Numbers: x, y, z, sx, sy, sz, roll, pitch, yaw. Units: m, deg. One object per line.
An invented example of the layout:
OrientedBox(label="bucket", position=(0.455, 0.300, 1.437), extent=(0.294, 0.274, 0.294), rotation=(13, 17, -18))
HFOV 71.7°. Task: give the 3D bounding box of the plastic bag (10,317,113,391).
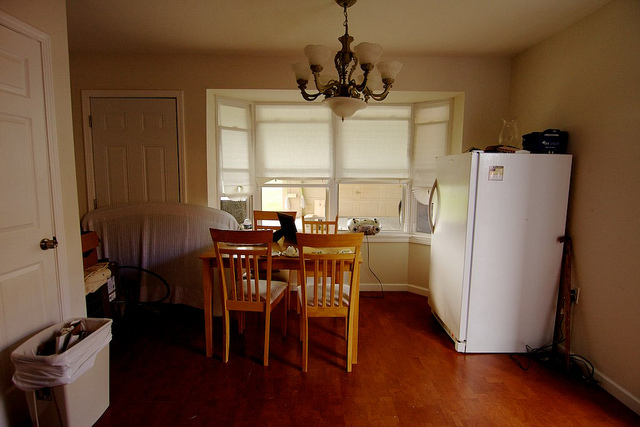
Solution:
OrientedBox(label="plastic bag", position=(-2.014, 1.137, 3.546), extent=(0.493, 0.371, 0.672), rotation=(0, 12, 2))

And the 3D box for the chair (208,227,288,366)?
OrientedBox(label="chair", position=(-0.681, 0.731, 4.372), extent=(0.724, 1.285, 0.750), rotation=(1, 9, -5))

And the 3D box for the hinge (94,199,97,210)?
OrientedBox(label="hinge", position=(-2.611, -0.110, 5.141), extent=(0.029, 0.107, 0.065), rotation=(-3, 10, -27))

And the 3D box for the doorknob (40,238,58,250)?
OrientedBox(label="doorknob", position=(-2.171, 0.245, 3.543), extent=(0.081, 0.092, 0.092), rotation=(-1, -10, 23))

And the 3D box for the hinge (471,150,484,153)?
OrientedBox(label="hinge", position=(1.508, -0.599, 4.237), extent=(0.113, 0.023, 0.190), rotation=(5, 9, 18))

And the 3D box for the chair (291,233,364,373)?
OrientedBox(label="chair", position=(0.070, 0.758, 4.289), extent=(0.581, 1.314, 0.708), rotation=(1, 9, -3))

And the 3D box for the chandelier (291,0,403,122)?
OrientedBox(label="chandelier", position=(0.160, -1.389, 4.030), extent=(0.876, 1.060, 0.961), rotation=(0, 9, -13))

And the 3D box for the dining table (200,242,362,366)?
OrientedBox(label="dining table", position=(-0.493, 1.081, 4.502), extent=(1.680, 1.224, 1.108), rotation=(0, -4, 2))

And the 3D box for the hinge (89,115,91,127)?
OrientedBox(label="hinge", position=(-2.640, -1.061, 5.073), extent=(0.017, 0.113, 0.006), rotation=(3, 9, 5))

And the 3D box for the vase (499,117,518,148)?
OrientedBox(label="vase", position=(1.960, -0.854, 4.572), extent=(0.180, 0.305, 0.198), rotation=(-14, 8, -12))

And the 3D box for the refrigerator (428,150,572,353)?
OrientedBox(label="refrigerator", position=(2.110, 0.277, 4.680), extent=(1.299, 1.939, 1.372), rotation=(-1, 17, 1))
